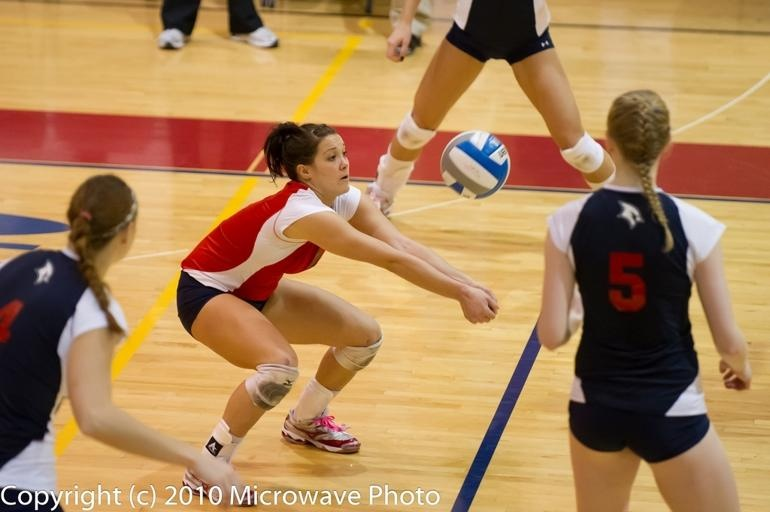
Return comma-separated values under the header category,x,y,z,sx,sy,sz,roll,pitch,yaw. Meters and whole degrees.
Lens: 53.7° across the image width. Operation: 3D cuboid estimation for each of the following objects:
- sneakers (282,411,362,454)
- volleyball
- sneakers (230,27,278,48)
category,x,y,z,sx,sy,sz,roll,pitch,yaw
sneakers,-0.291,0.794,3.519,0.396,0.179,0.148,9,7,23
volleyball,0.545,-0.550,4.549,0.406,0.387,0.222,13,18,14
sneakers,-1.333,-2.189,7.652,0.456,0.205,0.199,6,17,25
